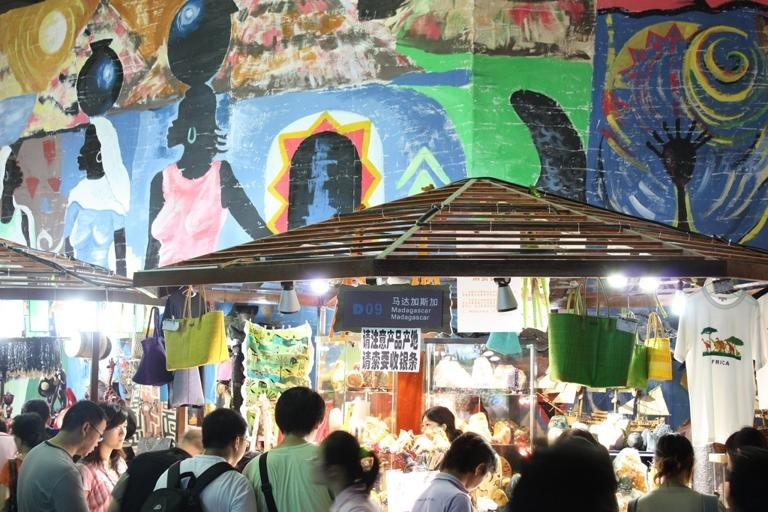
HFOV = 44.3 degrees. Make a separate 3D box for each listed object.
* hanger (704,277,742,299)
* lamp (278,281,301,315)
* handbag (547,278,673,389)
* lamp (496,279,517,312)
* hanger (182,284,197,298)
[{"bbox_3d":[3.774,0.350,10.541,0.242,0.118,0.350,11,-8,4],"label":"hanger"},{"bbox_3d":[-1.145,0.442,11.037,0.200,0.481,0.683,-6,14,-3],"label":"lamp"},{"bbox_3d":[2.422,0.926,10.739,1.369,1.423,1.030,2,-6,-7],"label":"handbag"},{"bbox_3d":[1.352,0.404,10.457,0.201,0.368,0.225,-3,13,8],"label":"lamp"},{"bbox_3d":[-2.359,0.416,11.277,0.161,0.090,0.208,-5,2,-1],"label":"hanger"}]
